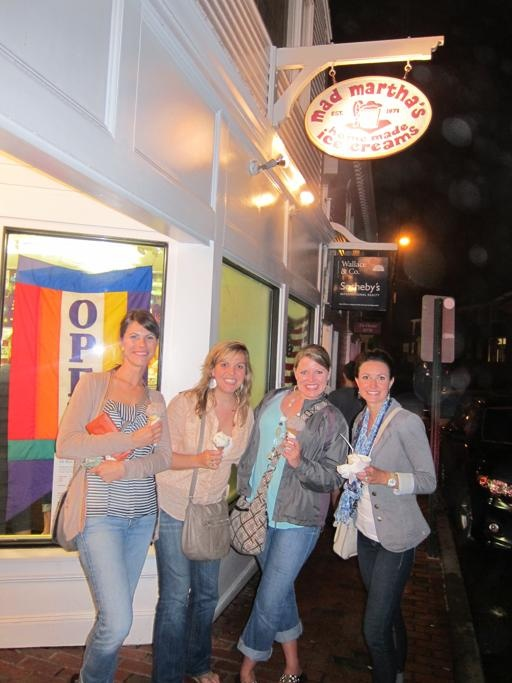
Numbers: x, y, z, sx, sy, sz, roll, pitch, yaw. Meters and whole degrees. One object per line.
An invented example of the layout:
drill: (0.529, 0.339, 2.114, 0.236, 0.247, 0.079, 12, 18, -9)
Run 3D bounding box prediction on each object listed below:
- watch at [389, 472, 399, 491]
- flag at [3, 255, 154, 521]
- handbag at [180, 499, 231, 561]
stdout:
watch: (0.709, 0.729, 2.640, 0.057, 0.087, 0.084, 3, -1, 7)
flag: (-1.347, 0.335, 3.717, 0.979, 1.886, 0.637, 1, 7, -40)
handbag: (-0.266, 1.073, 2.821, 0.191, 0.336, 0.331, 4, 0, 21)
